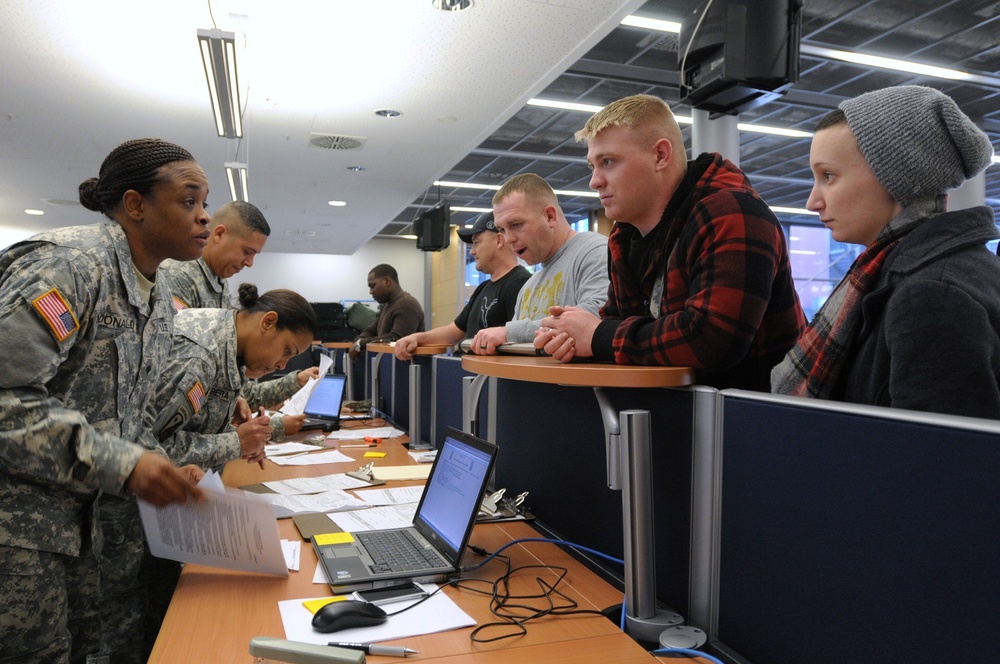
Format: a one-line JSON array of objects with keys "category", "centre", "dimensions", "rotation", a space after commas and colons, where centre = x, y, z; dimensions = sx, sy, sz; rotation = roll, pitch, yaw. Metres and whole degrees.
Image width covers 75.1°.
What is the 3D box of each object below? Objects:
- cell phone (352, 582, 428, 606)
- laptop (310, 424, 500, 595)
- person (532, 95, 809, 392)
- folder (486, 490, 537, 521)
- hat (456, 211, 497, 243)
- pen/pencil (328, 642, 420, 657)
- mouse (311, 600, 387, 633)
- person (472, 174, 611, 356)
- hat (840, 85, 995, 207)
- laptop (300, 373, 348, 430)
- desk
[{"category": "cell phone", "centre": [-0.282, 0.654, 1.614], "dimensions": [0.178, 0.017, 0.101], "rotation": [-3, 8, -12]}, {"category": "laptop", "centre": [-0.250, 0.444, 1.800], "dimensions": [0.420, 0.276, 0.410], "rotation": [-2, 4, -16]}, {"category": "person", "centre": [0.494, -0.243, 1.897], "dimensions": [0.805, 0.832, 0.810], "rotation": [-3, 1, -10]}, {"category": "folder", "centre": [0.036, 0.571, 2.111], "dimensions": [0.157, 0.060, 0.208], "rotation": [0, 0, -5]}, {"category": "hat", "centre": [-0.126, -0.577, 3.603], "dimensions": [0.252, 0.126, 0.157], "rotation": [-2, 1, 2]}, {"category": "pen/pencil", "centre": [-0.280, 0.688, 1.400], "dimensions": [0.243, 0.025, 0.025], "rotation": [1, -37, 3]}, {"category": "mouse", "centre": [-0.344, 0.653, 1.484], "dimensions": [0.136, 0.044, 0.069], "rotation": [-2, 0, -17]}, {"category": "person", "centre": [0.172, -0.276, 2.773], "dimensions": [0.642, 0.742, 0.560], "rotation": [-12, -6, 40]}, {"category": "hat", "centre": [0.908, -0.421, 1.502], "dimensions": [0.311, 0.218, 0.231], "rotation": [10, 13, 16]}, {"category": "laptop", "centre": [-1.007, 0.393, 3.825], "dimensions": [0.369, 0.291, 0.275], "rotation": [7, 4, 37]}, {"category": "desk", "centre": [-0.130, 0.369, 1.640], "dimensions": [1.223, 0.627, 0.628], "rotation": [0, 7, 0]}]
